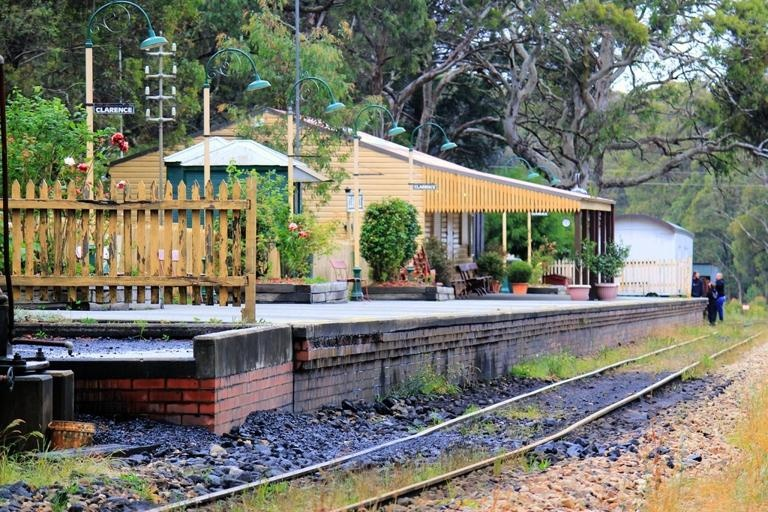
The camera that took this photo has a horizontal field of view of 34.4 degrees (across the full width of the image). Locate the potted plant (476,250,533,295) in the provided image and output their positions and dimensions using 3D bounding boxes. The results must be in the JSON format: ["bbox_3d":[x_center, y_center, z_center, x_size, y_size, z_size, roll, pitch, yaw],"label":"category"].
[{"bbox_3d":[4.591,0.510,49.293,1.612,1.388,1.799,6,1,-3],"label":"potted plant"}]

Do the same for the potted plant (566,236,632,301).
[{"bbox_3d":[7.705,0.254,45.745,2.178,3.107,2.180,0,-6,-7],"label":"potted plant"}]
